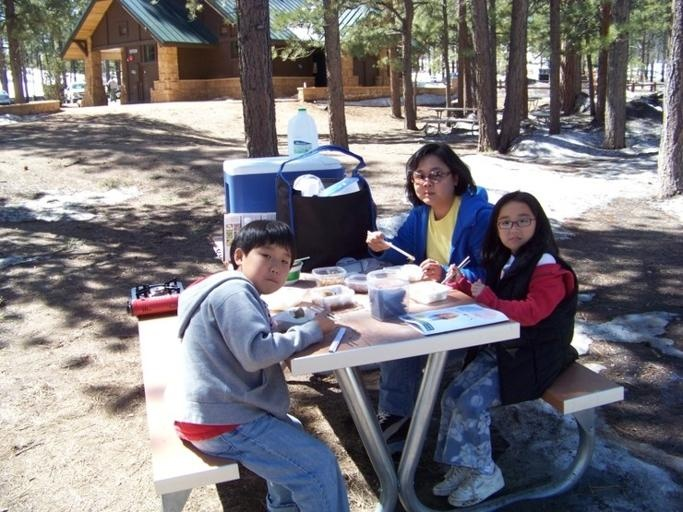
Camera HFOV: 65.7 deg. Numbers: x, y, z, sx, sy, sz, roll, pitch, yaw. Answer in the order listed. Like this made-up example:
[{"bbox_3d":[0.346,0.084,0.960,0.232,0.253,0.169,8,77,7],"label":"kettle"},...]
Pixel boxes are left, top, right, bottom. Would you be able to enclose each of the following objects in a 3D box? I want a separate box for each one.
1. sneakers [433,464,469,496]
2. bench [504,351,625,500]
[{"bbox_3d":[0.638,1.279,3.061,0.283,0.165,0.101,-1,8,-19],"label":"sneakers"},{"bbox_3d":[1.315,0.878,3.117,0.647,0.757,0.814,-2,7,-3],"label":"bench"}]
